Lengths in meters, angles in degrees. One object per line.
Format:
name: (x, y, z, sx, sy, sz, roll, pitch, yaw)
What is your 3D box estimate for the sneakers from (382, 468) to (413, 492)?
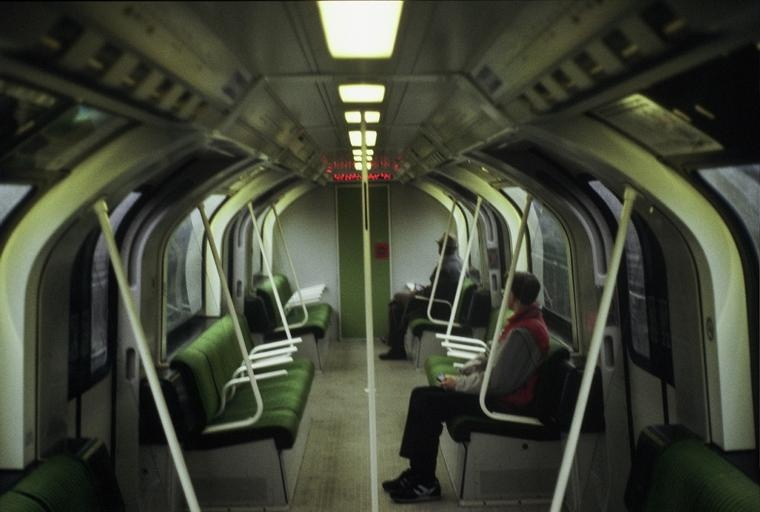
sneakers: (0.110, 1.805, 4.342, 0.334, 0.136, 0.118, -11, -16, 39)

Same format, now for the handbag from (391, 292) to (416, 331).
handbag: (0.262, 0.641, 6.380, 0.303, 0.415, 0.148, 6, 7, 41)

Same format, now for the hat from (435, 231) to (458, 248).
hat: (0.759, -0.175, 6.180, 0.145, 0.218, 0.249, 2, -8, -18)

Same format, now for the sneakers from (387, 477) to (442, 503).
sneakers: (0.272, 1.836, 4.267, 0.439, 0.199, 0.161, 1, -7, 0)
